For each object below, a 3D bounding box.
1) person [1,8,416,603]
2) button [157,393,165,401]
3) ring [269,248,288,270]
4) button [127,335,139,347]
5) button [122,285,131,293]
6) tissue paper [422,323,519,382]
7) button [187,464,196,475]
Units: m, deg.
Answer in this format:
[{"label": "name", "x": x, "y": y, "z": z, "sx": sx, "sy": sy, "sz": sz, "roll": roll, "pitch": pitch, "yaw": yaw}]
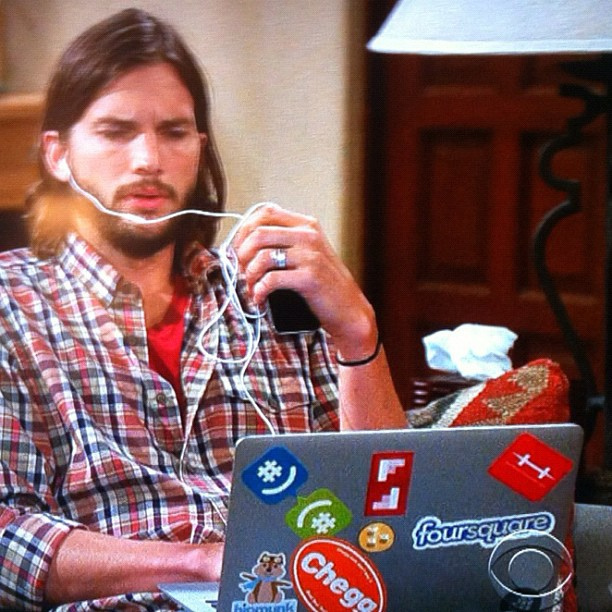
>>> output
[{"label": "person", "x": -0.144, "y": -0.011, "z": 2.037, "sx": 1.022, "sy": 1.175, "sz": 1.005, "roll": -3, "pitch": 2, "yaw": -38}, {"label": "button", "x": -0.258, "y": 0.162, "z": 1.532, "sx": 0.016, "sy": 0.013, "sz": 0.003, "roll": 11, "pitch": -3, "yaw": -4}, {"label": "ring", "x": -0.050, "y": -0.084, "z": 1.547, "sx": 0.040, "sy": 0.039, "sz": 0.024, "roll": -7, "pitch": 4, "yaw": -3}, {"label": "button", "x": -0.308, "y": 0.062, "z": 1.531, "sx": 0.022, "sy": 0.017, "sz": 0.005, "roll": 9, "pitch": -5, "yaw": -20}, {"label": "button", "x": -0.319, "y": -0.030, "z": 1.533, "sx": 0.014, "sy": 0.009, "sz": 0.013, "roll": -2, "pitch": 2, "yaw": -4}, {"label": "tissue paper", "x": 0.307, "y": 0.091, "z": 1.656, "sx": 0.181, "sy": 0.043, "sz": 0.164, "roll": 18, "pitch": 34, "yaw": 6}, {"label": "button", "x": -0.204, "y": 0.291, "z": 1.536, "sx": 0.013, "sy": 0.016, "sz": 0.005, "roll": -31, "pitch": -3, "yaw": -23}]
